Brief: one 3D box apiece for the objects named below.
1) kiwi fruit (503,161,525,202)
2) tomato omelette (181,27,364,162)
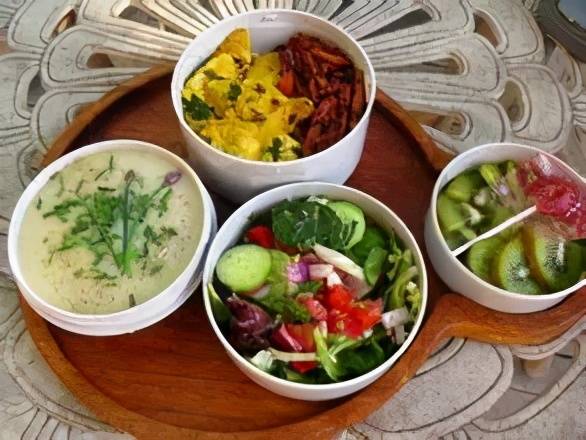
[{"bbox_3d":[1.029,-0.208,2.280,0.110,0.068,0.118,-2,90,-6],"label":"kiwi fruit"},{"bbox_3d":[-0.087,-0.612,2.389,0.757,0.230,0.783,-1,59,1],"label":"tomato omelette"}]
